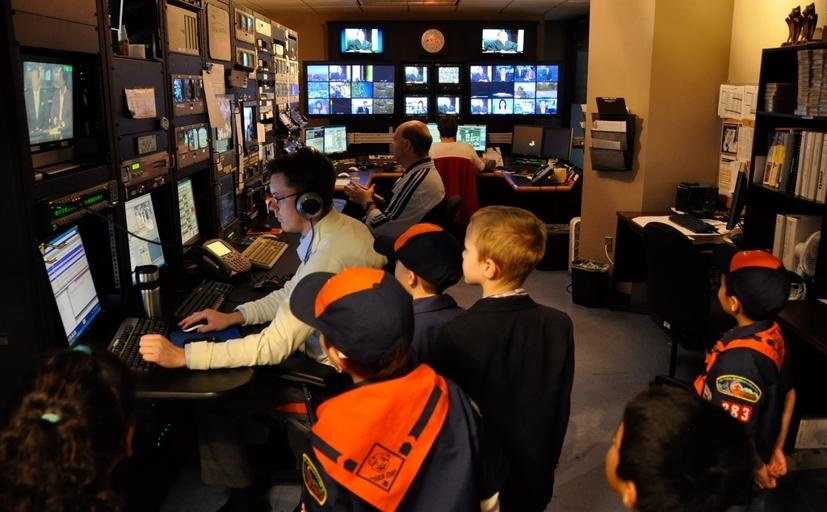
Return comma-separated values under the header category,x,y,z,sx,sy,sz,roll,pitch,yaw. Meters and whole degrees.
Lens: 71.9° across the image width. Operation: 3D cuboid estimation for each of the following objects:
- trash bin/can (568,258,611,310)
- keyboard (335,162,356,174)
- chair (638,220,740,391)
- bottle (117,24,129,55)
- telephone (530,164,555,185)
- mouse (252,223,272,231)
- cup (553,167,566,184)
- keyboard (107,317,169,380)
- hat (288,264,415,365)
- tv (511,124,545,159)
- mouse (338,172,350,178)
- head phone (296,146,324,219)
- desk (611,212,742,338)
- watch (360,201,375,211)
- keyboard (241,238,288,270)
category,x,y,z,sx,sy,sz,roll,pitch,yaw
trash bin/can,1.598,0.273,5.362,0.351,0.328,0.299,12,0,24
keyboard,-0.853,-1.109,7.192,0.282,0.117,0.387,1,8,6
chair,1.919,0.306,3.830,0.652,0.991,0.649,-7,21,-16
bottle,-1.524,-1.128,2.984,0.047,0.159,0.237,-9,19,-23
telephone,1.437,-0.909,6.336,0.207,0.190,0.269,15,24,42
mouse,-1.164,-0.222,4.376,0.120,0.033,0.065,3,13,9
cup,1.648,-0.907,6.405,0.156,0.138,0.238,4,18,17
keyboard,-1.275,0.382,2.639,0.202,0.042,0.362,10,22,-16
hat,-0.211,0.162,1.930,0.405,0.204,0.274,41,46,20
tv,1.550,-1.574,7.819,0.466,0.414,0.108,10,10,39
mouse,-0.825,-0.953,6.715,0.136,0.041,0.099,1,16,12
head phone,-0.580,-0.382,3.017,0.122,0.303,0.242,-22,60,-11
desk,1.839,0.112,3.970,0.623,0.739,0.814,-6,23,-10
watch,-0.403,-0.428,4.917,0.103,0.061,0.103,-4,-11,-40
keyboard,-0.991,-0.029,3.763,0.169,0.038,0.394,18,20,-2
